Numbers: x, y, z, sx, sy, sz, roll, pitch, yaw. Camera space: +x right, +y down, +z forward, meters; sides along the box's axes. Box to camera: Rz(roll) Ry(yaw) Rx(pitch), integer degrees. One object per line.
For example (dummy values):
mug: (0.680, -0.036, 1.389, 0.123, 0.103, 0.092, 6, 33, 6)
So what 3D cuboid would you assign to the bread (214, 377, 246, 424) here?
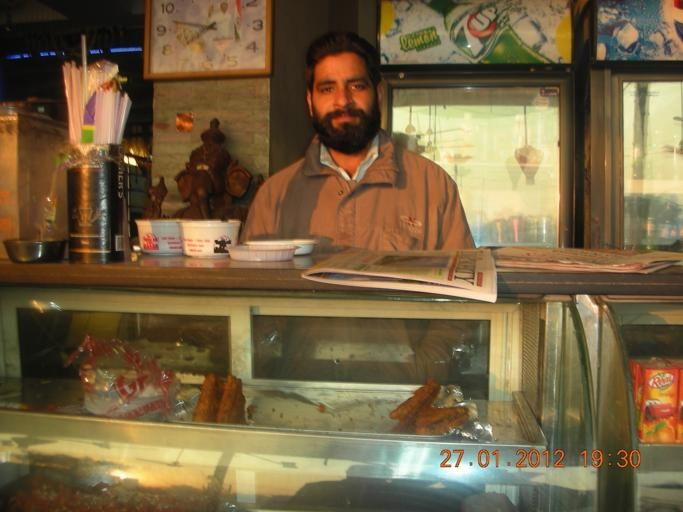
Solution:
bread: (-0.266, 0.353, 1.595, 0.080, 0.083, 0.146, -1, 43, -6)

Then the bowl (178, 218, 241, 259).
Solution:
bowl: (-0.376, -0.052, 1.846, 0.179, 0.118, 0.186, 1, 4, 0)

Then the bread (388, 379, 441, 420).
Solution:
bread: (0.177, 0.345, 1.565, 0.132, 0.031, 0.059, -34, 37, -20)

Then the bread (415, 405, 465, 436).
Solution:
bread: (0.230, 0.382, 1.511, 0.094, 0.027, 0.059, -8, 37, 6)

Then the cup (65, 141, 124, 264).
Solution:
cup: (-0.647, -0.142, 1.706, 0.150, 0.311, 0.072, 1, 0, -24)

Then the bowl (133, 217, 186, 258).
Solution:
bowl: (-0.527, -0.057, 1.906, 0.149, 0.107, 0.160, -2, 3, 0)
